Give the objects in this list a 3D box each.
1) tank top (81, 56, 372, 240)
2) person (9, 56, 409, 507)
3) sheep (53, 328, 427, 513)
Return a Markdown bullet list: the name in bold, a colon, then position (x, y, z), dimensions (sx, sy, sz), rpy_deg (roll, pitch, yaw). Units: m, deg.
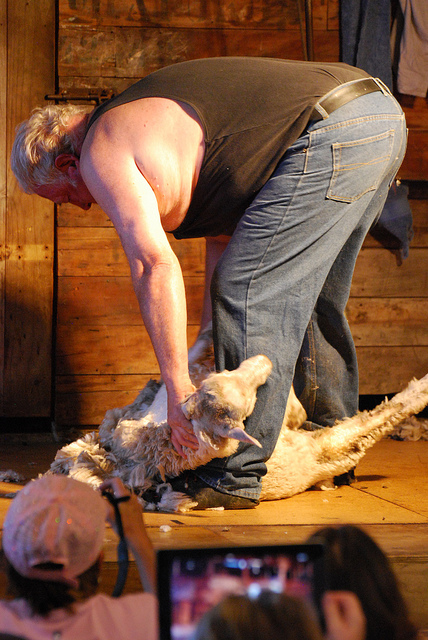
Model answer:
- **tank top**: position (0.045, -0.390, 1.745), dimensions (0.553, 0.240, 0.380), rpy_deg (-10, 34, 2)
- **person**: position (0.090, -0.154, 1.825), dimensions (0.791, 0.863, 0.764), rpy_deg (-16, 32, -29)
- **sheep**: position (0.023, 0.192, 1.663), dimensions (0.531, 0.166, 0.548), rpy_deg (-14, 8, -25)
